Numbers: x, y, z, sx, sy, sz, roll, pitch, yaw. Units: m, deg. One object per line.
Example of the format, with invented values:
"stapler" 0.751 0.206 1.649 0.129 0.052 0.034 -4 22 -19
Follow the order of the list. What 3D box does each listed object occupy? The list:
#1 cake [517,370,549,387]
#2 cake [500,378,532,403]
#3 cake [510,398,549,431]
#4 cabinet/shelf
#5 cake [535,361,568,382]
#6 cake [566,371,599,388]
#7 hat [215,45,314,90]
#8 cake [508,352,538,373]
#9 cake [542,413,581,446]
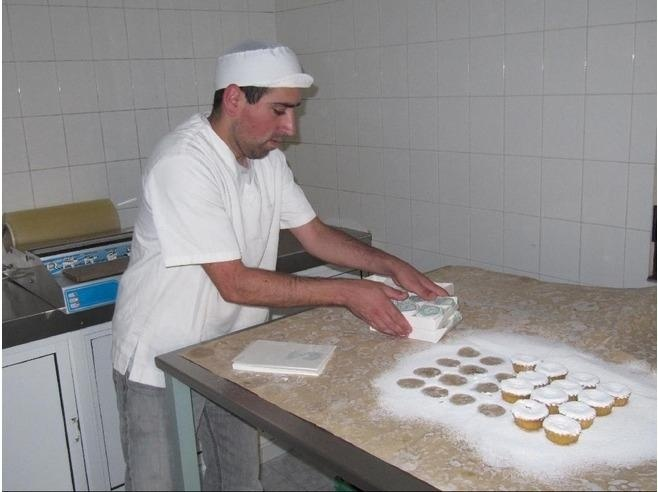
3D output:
"cake" 0.471 0.304 1.126 0.038 0.014 0.039 6 13 36
"cake" 0.417 0.322 1.090 0.066 0.035 0.058 -15 14 -29
"cake" 0.414 0.344 1.004 0.052 0.030 0.056 -2 11 -1
"cabinet/shelf" -0.456 0.404 1.490 0.413 0.520 0.789 7 14 36
"cake" 0.534 0.297 1.161 0.043 0.016 0.044 4 21 20
"cake" 0.585 0.298 1.120 0.038 0.013 0.038 -10 15 -29
"hat" -0.196 -0.499 1.391 0.190 0.080 0.152 5 18 16
"cake" 0.475 0.285 1.191 0.059 0.030 0.057 0 14 32
"cake" 0.463 0.367 0.978 0.069 0.040 0.058 -13 13 -24
